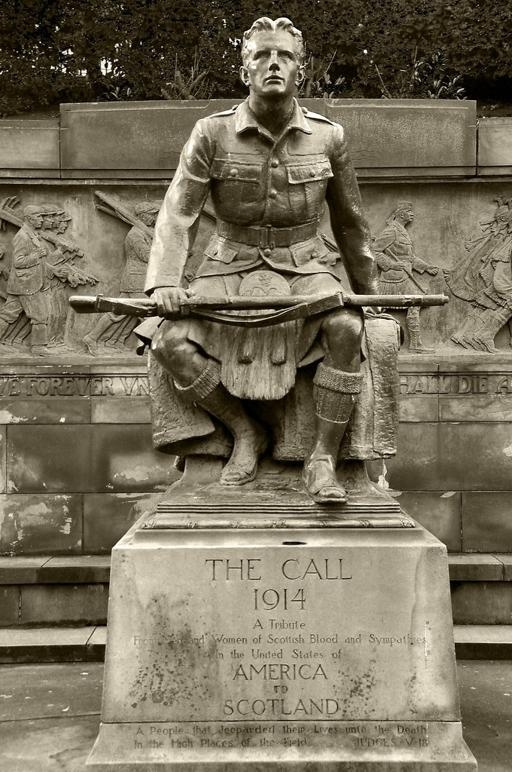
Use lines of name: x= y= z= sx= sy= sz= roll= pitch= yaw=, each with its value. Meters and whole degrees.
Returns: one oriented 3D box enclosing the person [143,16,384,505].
person: x=0.026 y=-0.682 z=7.665 sx=1.238 sy=2.378 sz=0.858 roll=-4 pitch=10 yaw=-3
